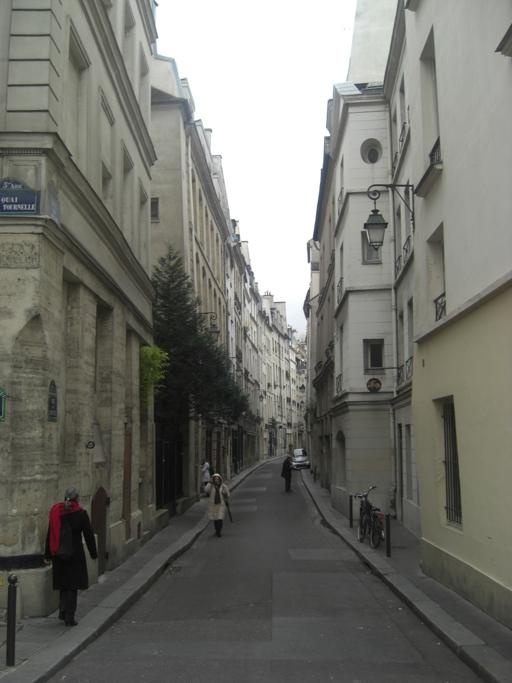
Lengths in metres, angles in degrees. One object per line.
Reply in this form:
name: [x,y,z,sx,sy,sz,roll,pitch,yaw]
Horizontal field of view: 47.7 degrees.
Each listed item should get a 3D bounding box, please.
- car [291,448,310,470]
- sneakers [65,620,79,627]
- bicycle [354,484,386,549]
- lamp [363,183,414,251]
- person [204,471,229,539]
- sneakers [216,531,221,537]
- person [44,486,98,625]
car: [4.400,11.445,56.597,1.202,2.139,3.163,-2,-19,0]
sneakers: [-1.861,2.847,5.859,0.131,0.064,0.101,8,-15,-35]
bicycle: [2.662,4.042,12.769,0.509,1.233,1.516,-1,-5,-2]
lamp: [2.737,-2.534,11.771,0.916,1.998,0.555,-2,-36,18]
person: [-1.045,4.402,15.636,0.599,1.608,1.514,1,-10,-6]
sneakers: [-0.956,5.031,15.058,0.074,0.225,0.094,4,-12,-19]
person: [-1.962,2.271,6.138,0.497,1.350,0.531,-5,-9,34]
